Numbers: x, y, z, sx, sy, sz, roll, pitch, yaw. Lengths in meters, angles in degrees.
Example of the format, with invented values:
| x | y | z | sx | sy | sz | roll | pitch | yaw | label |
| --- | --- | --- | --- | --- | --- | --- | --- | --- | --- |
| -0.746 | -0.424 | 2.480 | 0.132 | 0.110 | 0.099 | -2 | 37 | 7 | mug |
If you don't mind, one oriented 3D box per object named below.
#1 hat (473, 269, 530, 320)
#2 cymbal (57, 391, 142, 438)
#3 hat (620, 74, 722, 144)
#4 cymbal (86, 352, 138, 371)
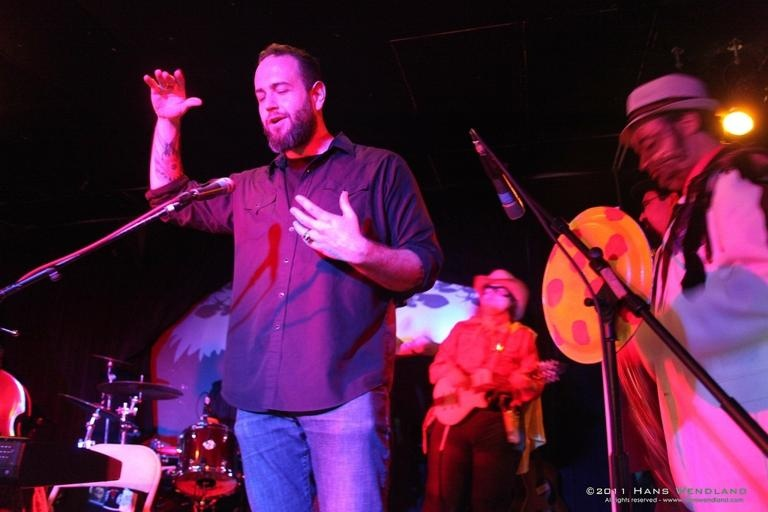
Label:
| x | y | z | sx | sy | sz | roll | pitch | yaw | label |
| --- | --- | --- | --- | --- | --- | --- | --- | --- | --- |
| 1.342 | 0.410 | 6.828 | 0.140 | 0.556 | 0.523 | -5 | 24 | -43 | hat |
| -3.231 | 1.887 | 7.067 | 0.789 | 0.542 | 0.937 | 10 | -25 | -20 | cymbal |
| 2.351 | -1.315 | 5.122 | 0.684 | 0.377 | 0.651 | -16 | 10 | 38 | hat |
| -3.316 | 1.256 | 7.480 | 0.311 | 0.070 | 0.320 | -1 | -34 | 22 | cymbal |
